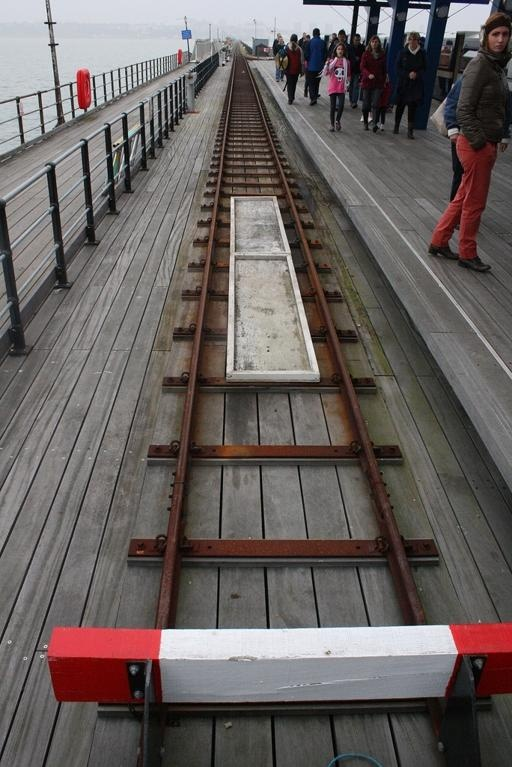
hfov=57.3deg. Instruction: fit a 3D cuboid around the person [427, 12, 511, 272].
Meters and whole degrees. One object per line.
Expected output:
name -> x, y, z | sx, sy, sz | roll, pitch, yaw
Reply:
person -> 2.221, -2.247, 4.703 | 0.652, 2.277, 0.719 | 25, 36, 33
